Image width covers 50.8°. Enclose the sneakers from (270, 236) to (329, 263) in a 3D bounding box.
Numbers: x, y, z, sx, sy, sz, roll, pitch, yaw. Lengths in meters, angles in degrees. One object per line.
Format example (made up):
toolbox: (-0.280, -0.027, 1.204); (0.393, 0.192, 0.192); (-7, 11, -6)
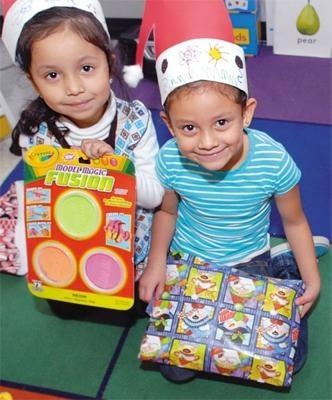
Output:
sneakers: (0.411, 0.152, 1.056); (0.178, 0.057, 0.066); (-15, 42, 0)
